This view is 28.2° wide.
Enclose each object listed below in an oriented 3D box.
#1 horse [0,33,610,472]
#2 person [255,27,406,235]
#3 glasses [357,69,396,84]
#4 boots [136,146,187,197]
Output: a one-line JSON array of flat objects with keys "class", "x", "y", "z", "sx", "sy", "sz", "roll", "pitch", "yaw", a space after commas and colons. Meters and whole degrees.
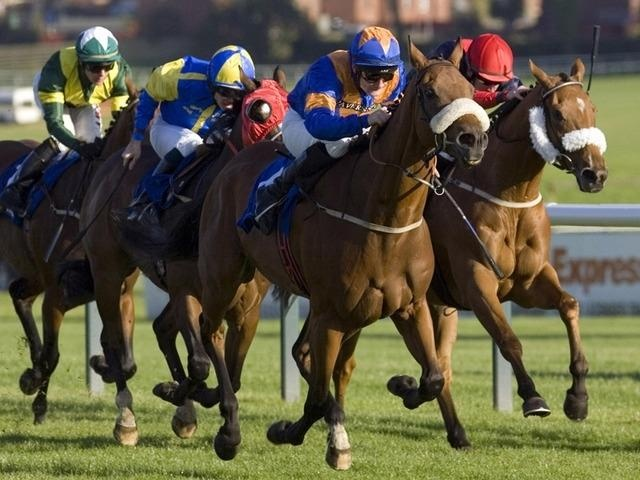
[{"class": "horse", "x": 0.452, "y": 0.085, "z": 8.373, "sx": 2.561, "sy": 2.660, "sz": 1.832, "roll": 4, "pitch": 6, "yaw": 40}, {"class": "person", "x": 0.073, "y": -0.678, "z": 7.949, "sx": 0.929, "sy": 1.278, "sz": 0.664, "roll": 0, "pitch": 4, "yaw": 2}, {"class": "glasses", "x": 0.353, "y": -0.997, "z": 7.767, "sx": 0.217, "sy": 0.076, "sz": 0.121, "roll": 1, "pitch": 5, "yaw": 2}, {"class": "boots", "x": -1.096, "y": -0.437, "z": 8.790, "sx": 0.147, "sy": 0.344, "sz": 0.289, "roll": 46, "pitch": 10, "yaw": 38}]
